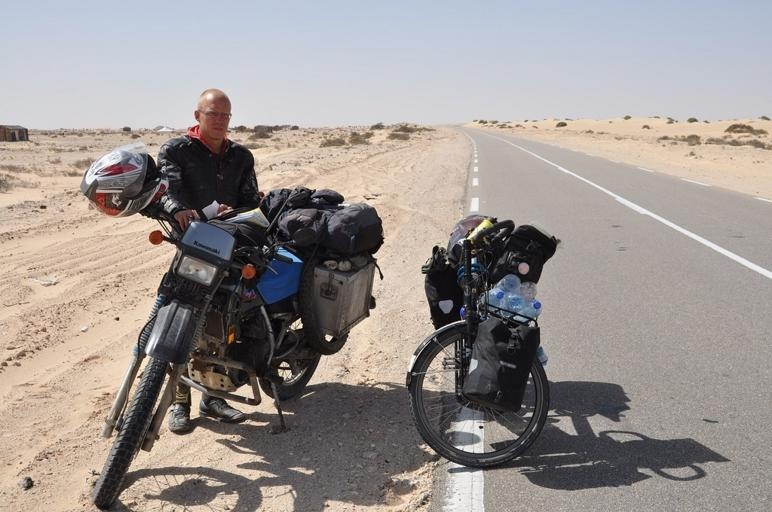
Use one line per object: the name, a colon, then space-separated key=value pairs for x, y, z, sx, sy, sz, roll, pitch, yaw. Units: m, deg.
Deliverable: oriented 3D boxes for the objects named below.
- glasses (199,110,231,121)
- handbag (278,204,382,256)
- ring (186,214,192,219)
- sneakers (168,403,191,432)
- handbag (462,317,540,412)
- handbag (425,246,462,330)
glasses: x=-1.674 y=-1.374 z=5.673 sx=0.316 sy=0.095 sz=0.104 roll=1 pitch=22 yaw=-4
handbag: x=-0.469 y=-0.254 z=5.491 sx=0.781 sy=0.292 sz=0.542 roll=4 pitch=16 yaw=-2
ring: x=-1.622 y=-0.327 z=4.851 sx=0.015 sy=0.040 sz=0.034 roll=20 pitch=28 yaw=36
sneakers: x=-1.947 y=1.539 z=5.565 sx=0.150 sy=0.159 sz=0.397 roll=0 pitch=3 yaw=-7
handbag: x=0.954 y=0.885 z=4.901 sx=0.674 sy=0.723 sz=0.422 roll=19 pitch=-8 yaw=2
handbag: x=0.531 y=0.328 z=5.781 sx=0.322 sy=0.855 sz=0.414 roll=-11 pitch=-7 yaw=38
